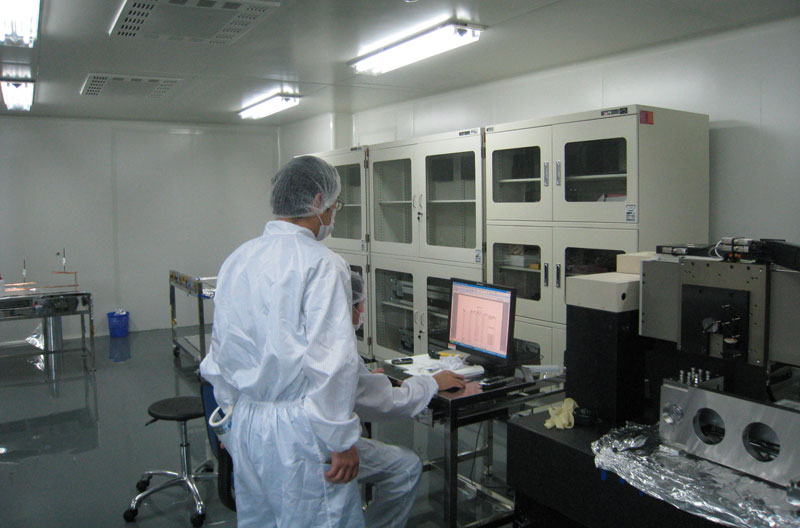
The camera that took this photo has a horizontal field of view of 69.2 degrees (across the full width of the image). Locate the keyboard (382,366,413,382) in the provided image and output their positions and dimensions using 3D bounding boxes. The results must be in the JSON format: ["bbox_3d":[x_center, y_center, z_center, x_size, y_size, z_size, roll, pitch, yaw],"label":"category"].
[{"bbox_3d":[-0.026,0.673,3.556,0.066,0.038,0.156,-2,6,-25],"label":"keyboard"}]

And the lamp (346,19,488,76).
[{"bbox_3d":[0.109,-1.675,4.519,1.222,0.237,0.450,11,16,43],"label":"lamp"}]

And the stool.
[{"bbox_3d":[-1.541,1.265,3.932,0.702,0.651,0.688,-1,5,-26],"label":"stool"}]

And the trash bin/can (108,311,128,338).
[{"bbox_3d":[-3.547,0.749,7.287,0.303,0.374,0.309,0,-1,-14],"label":"trash bin/can"}]

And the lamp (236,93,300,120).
[{"bbox_3d":[-1.452,-1.763,6.448,0.585,0.186,1.439,-4,12,-20],"label":"lamp"}]
